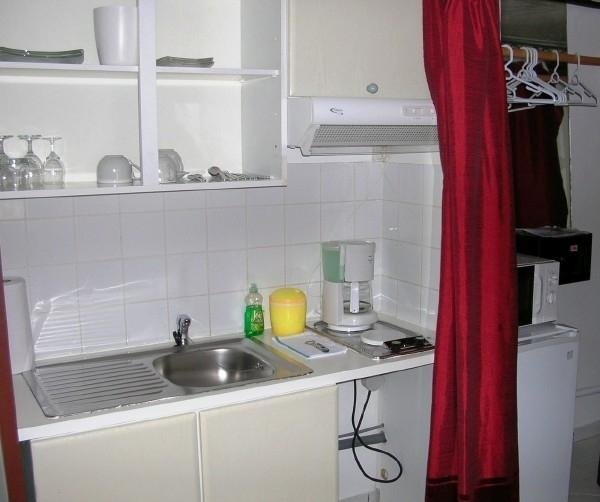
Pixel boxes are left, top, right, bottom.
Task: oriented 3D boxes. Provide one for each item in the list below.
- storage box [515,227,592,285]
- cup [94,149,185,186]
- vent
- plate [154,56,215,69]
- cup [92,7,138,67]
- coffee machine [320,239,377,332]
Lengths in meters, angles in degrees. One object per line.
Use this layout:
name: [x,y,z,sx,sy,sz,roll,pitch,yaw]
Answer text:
storage box: [1.203,-0.062,2.516,0.319,0.270,0.331,-8,11,-29]
cup: [-0.564,-0.302,1.890,0.296,0.111,0.198,-3,14,-15]
vent: [0.252,-0.489,2.092,0.660,0.216,0.299,-5,15,-22]
plate: [-0.407,-0.667,1.870,0.201,0.039,0.058,-9,17,-34]
cup: [-0.601,-0.717,1.843,0.173,0.214,0.180,0,7,0]
coffee machine: [0.217,0.144,2.358,0.186,0.451,0.196,-4,16,-24]
